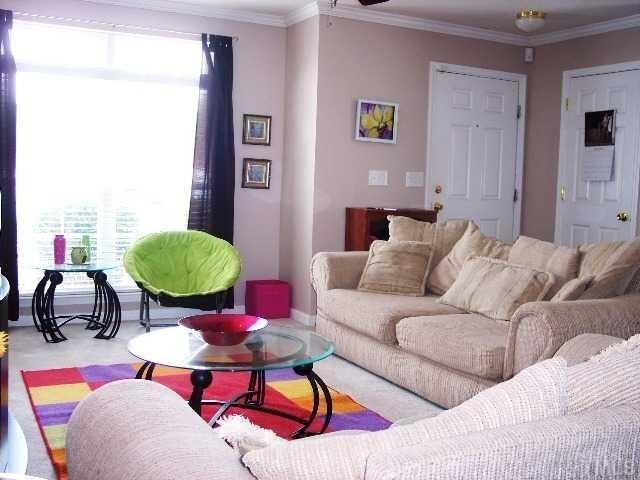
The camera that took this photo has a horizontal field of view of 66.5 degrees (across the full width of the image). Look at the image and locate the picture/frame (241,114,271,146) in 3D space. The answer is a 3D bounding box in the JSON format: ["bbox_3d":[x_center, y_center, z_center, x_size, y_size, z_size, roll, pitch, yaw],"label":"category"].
[{"bbox_3d":[-0.684,-1.163,5.105,0.352,0.350,0.029,-1,4,-28],"label":"picture/frame"}]

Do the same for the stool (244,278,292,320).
[{"bbox_3d":[-0.536,0.574,5.017,0.405,0.387,0.396,1,0,-26],"label":"stool"}]

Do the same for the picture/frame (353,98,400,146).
[{"bbox_3d":[0.547,-1.199,4.914,0.510,0.430,0.054,1,3,-23],"label":"picture/frame"}]

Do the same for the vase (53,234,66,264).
[{"bbox_3d":[-2.297,0.081,4.294,0.080,0.244,0.182,-2,7,-32],"label":"vase"}]

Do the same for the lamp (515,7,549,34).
[{"bbox_3d":[2.009,-2.085,4.651,0.195,0.131,0.203,2,7,5],"label":"lamp"}]

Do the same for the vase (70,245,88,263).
[{"bbox_3d":[-2.089,0.129,4.232,0.143,0.146,0.117,0,4,-15],"label":"vase"}]

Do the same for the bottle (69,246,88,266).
[{"bbox_3d":[-2.090,0.136,4.229,0.146,0.143,0.146,-1,5,-16],"label":"bottle"}]

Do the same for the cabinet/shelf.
[{"bbox_3d":[0.709,-0.156,4.800,0.838,0.773,0.425,-1,0,-19],"label":"cabinet/shelf"}]

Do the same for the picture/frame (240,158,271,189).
[{"bbox_3d":[-0.694,-0.708,5.125,0.328,0.324,0.037,-1,4,-29],"label":"picture/frame"}]
